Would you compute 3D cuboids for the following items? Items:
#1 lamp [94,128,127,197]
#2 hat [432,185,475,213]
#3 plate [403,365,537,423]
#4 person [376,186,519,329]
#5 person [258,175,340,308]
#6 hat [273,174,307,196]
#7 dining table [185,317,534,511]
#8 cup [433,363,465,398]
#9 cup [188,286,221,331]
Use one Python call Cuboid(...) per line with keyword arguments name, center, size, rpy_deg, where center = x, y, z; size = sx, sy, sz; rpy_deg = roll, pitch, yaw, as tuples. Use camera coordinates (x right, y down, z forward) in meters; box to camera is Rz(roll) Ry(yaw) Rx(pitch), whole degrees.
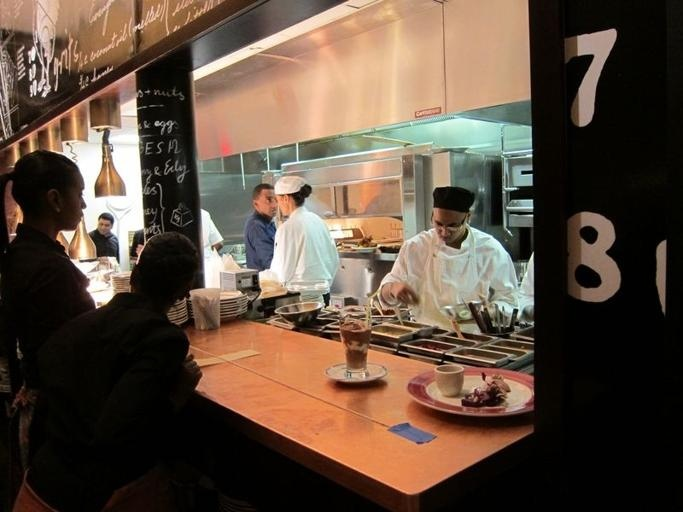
Cuboid(name="lamp", center=(-1.742, -0.684, 3.794), size=(0.213, 0.504, 0.843), rpy_deg=(-8, 11, -24))
Cuboid(name="hat", center=(0.730, -0.361, 3.316), size=(0.265, 0.183, 0.161), rpy_deg=(-4, 10, -7))
Cuboid(name="plate", center=(0.458, 0.468, 1.755), size=(0.472, 0.051, 0.480), rpy_deg=(-2, 4, 8))
Cuboid(name="person", center=(0.747, 0.209, 3.583), size=(1.006, 1.355, 0.772), rpy_deg=(-3, 13, 0))
Cuboid(name="person", center=(-0.364, -0.119, 4.776), size=(0.609, 1.254, 0.469), rpy_deg=(-2, 10, 6))
Cuboid(name="hat", center=(-0.499, -0.668, 4.762), size=(0.241, 0.124, 0.185), rpy_deg=(-7, 8, -32))
Cuboid(name="dining table", center=(-0.057, 0.572, 1.987), size=(0.777, 0.229, 1.474), rpy_deg=(-11, 13, -39))
Cuboid(name="cup", center=(0.377, 0.437, 1.782), size=(0.109, 0.090, 0.096), rpy_deg=(-7, 7, -33))
Cuboid(name="cup", center=(-0.765, 0.295, 2.942), size=(0.154, 0.177, 0.157), rpy_deg=(5, 4, 0))
